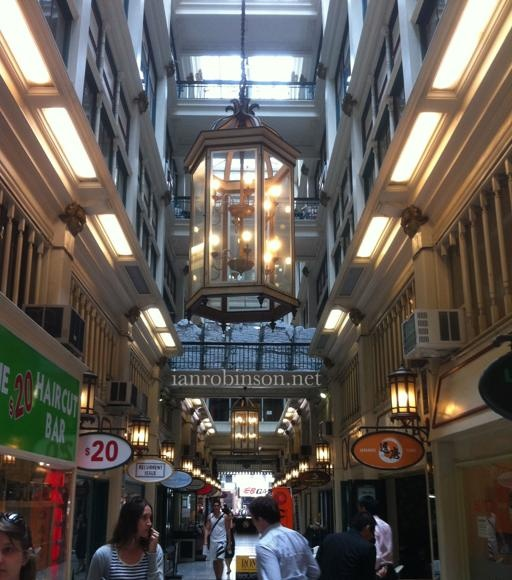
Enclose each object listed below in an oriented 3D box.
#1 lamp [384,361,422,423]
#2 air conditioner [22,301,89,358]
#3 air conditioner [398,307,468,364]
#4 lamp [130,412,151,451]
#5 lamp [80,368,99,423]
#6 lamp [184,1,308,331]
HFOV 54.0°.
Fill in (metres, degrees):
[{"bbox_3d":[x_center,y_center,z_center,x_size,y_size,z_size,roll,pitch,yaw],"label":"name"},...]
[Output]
[{"bbox_3d":[2.021,1.418,6.876,0.381,0.697,0.340,-6,-23,16],"label":"lamp"},{"bbox_3d":[-2.318,0.465,5.970,0.489,0.498,0.831,-16,-29,32],"label":"air conditioner"},{"bbox_3d":[2.171,0.543,6.196,0.559,0.564,0.687,1,-24,-1],"label":"air conditioner"},{"bbox_3d":[-2.498,3.008,10.614,0.425,0.707,0.671,6,-24,-13],"label":"lamp"},{"bbox_3d":[-2.452,1.550,7.306,0.204,0.670,0.720,7,-25,-16],"label":"lamp"},{"bbox_3d":[-0.161,-0.738,5.583,1.284,2.005,0.878,-1,-22,4],"label":"lamp"}]
